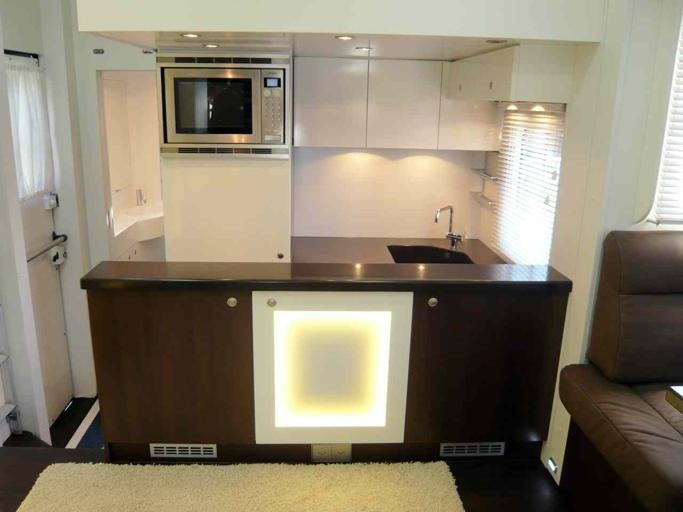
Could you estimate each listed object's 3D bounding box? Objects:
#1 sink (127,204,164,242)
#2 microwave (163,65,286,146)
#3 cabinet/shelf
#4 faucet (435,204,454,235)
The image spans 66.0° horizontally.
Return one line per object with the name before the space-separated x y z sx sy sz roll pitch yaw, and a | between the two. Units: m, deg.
sink | -2.262 -0.447 6.014 0.456 0.232 0.615 -10 16 -35
microwave | -0.822 -1.018 3.609 0.797 0.553 0.456 0 11 -3
cabinet/shelf | 0.445 -1.287 4.469 1.703 0.713 0.203 -1 17 -7
faucet | 0.952 -0.340 4.898 0.190 0.320 0.495 4 17 10
